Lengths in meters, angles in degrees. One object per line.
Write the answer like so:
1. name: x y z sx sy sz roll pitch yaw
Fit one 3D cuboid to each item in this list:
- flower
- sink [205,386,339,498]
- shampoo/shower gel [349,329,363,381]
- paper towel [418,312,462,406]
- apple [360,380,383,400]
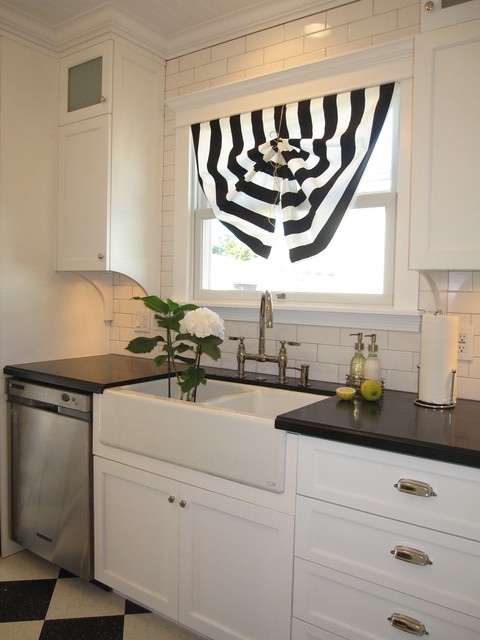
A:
1. flower: -0.262 0.124 2.107 0.413 0.424 0.339 4 -1 11
2. sink: 0.073 0.359 1.661 0.360 0.192 0.243 5 8 36
3. shampoo/shower gel: 0.433 0.135 1.969 0.054 0.181 0.160 2 2 13
4. paper towel: 0.641 0.126 1.709 0.116 0.291 0.167 3 2 22
5. apple: 0.440 0.233 1.769 0.061 0.068 0.089 3 2 23
